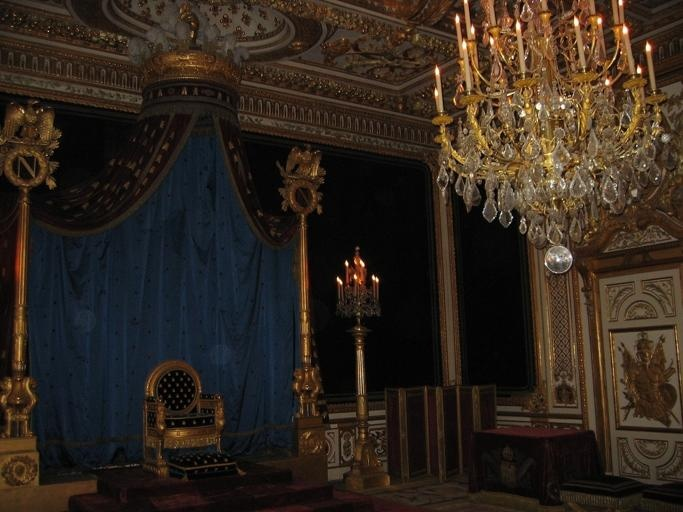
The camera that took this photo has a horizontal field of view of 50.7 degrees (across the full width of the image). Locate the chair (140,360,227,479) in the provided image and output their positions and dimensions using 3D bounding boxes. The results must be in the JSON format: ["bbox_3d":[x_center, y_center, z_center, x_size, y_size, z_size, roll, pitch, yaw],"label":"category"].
[{"bbox_3d":[-1.712,1.684,7.681,0.823,1.177,0.784,1,-11,-18],"label":"chair"}]
